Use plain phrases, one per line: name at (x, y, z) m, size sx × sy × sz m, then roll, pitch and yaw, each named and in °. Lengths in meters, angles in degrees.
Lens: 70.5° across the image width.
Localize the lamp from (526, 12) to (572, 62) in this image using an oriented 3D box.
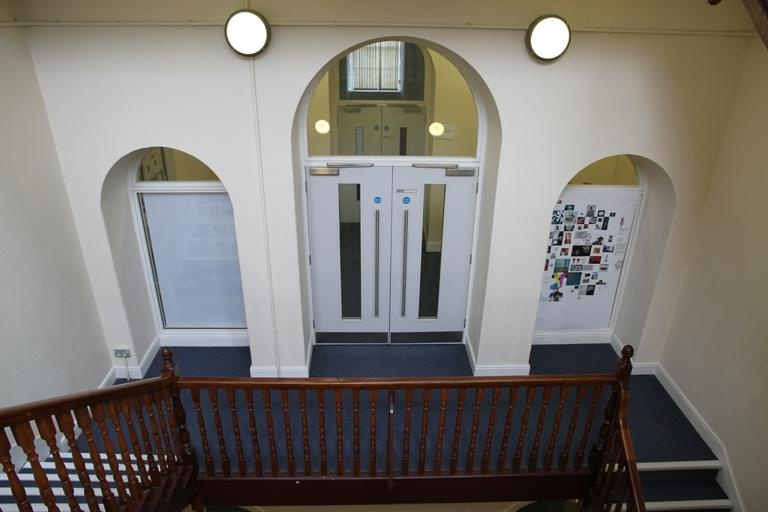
lamp at (1.847, -2.446, 6.066) m, size 0.452 × 0.449 × 0.104 m, roll 18°, pitch 31°, yaw -12°
